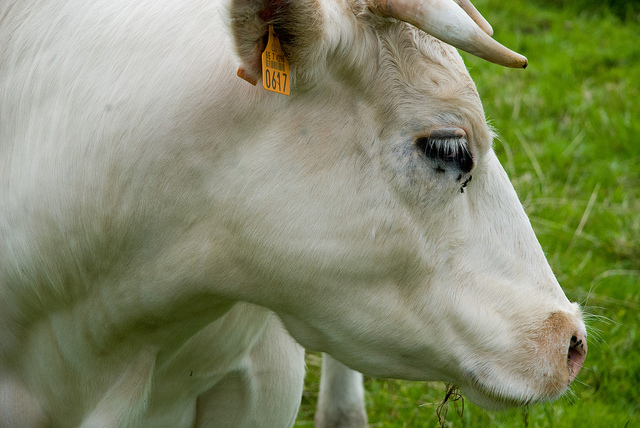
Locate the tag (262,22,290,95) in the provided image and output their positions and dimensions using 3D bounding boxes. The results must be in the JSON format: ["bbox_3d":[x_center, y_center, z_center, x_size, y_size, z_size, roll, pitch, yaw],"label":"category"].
[{"bbox_3d":[-0.165,-0.575,3.055,0.101,0.128,0.218,0,76,-4],"label":"tag"}]
